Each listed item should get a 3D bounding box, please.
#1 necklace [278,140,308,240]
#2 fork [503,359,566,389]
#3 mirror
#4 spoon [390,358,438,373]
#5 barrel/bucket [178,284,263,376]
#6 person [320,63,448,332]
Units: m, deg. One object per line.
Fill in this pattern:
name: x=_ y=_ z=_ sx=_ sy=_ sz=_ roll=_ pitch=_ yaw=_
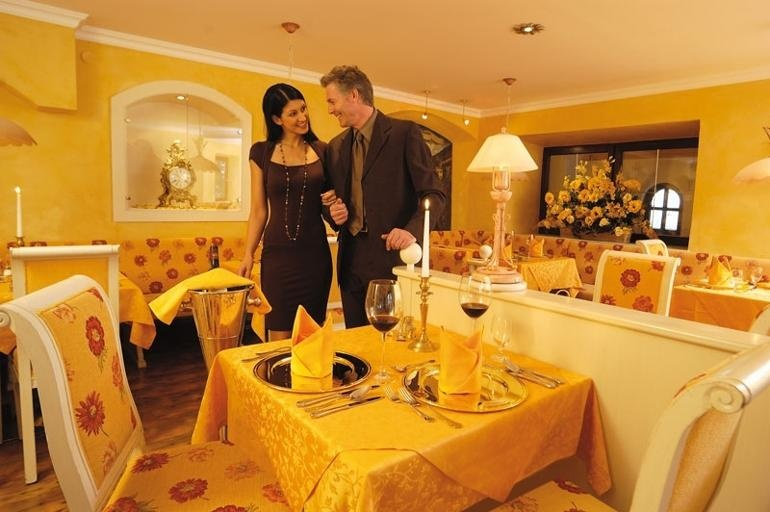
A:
necklace: x=-0.575 y=-0.392 z=3.295 sx=0.183 sy=0.587 sz=0.105 roll=1 pitch=8 yaw=1
fork: x=0.623 y=0.475 z=2.229 sx=0.080 sy=0.041 sz=0.268 roll=-1 pitch=11 yaw=-34
mirror: x=-2.309 y=-1.179 z=5.895 sx=1.748 sy=1.947 sz=0.153 roll=-4 pitch=8 yaw=-35
spoon: x=0.142 y=0.462 z=2.344 sx=0.283 sy=0.042 sz=0.064 roll=3 pitch=13 yaw=-44
barrel/bucket: x=-0.784 y=0.375 z=2.813 sx=0.419 sy=0.525 sz=0.378 roll=0 pitch=-1 yaw=-13
person: x=-0.036 y=-0.317 z=3.142 sx=0.736 sy=1.509 sz=0.307 roll=3 pitch=8 yaw=12
